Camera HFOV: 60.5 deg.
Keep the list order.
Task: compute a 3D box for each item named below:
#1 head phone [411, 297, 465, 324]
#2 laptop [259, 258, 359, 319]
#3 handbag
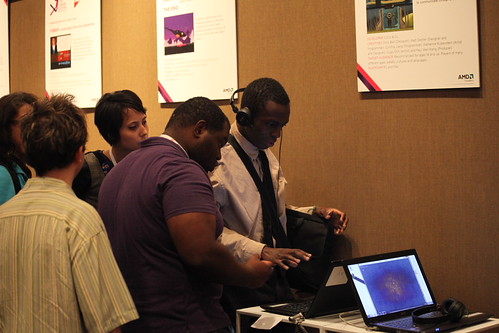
[{"bbox_3d":[0.993,0.772,2.264,0.210,0.088,0.160,-11,-1,11],"label":"head phone"},{"bbox_3d":[0.376,0.707,2.450,0.364,0.245,0.392,-3,-5,42],"label":"laptop"},{"bbox_3d":[0.307,0.601,2.985,0.482,0.498,0.210,10,4,-21],"label":"handbag"}]
